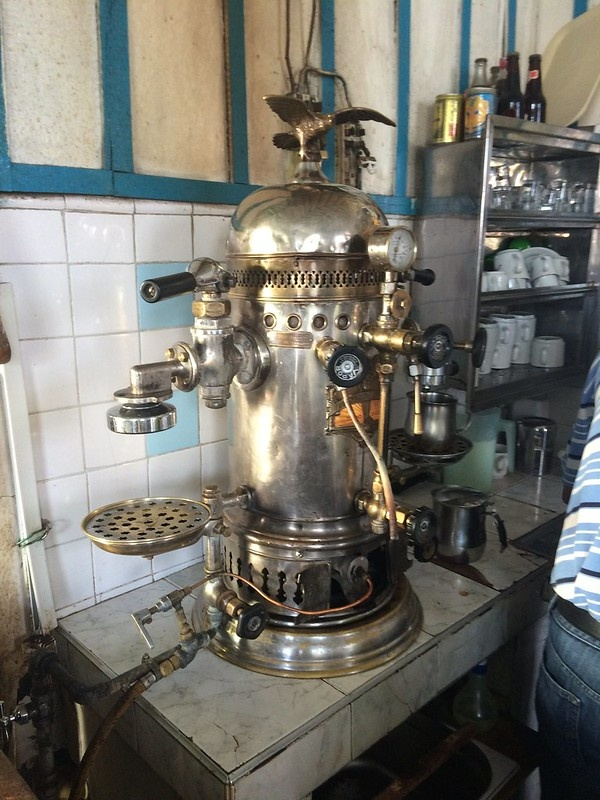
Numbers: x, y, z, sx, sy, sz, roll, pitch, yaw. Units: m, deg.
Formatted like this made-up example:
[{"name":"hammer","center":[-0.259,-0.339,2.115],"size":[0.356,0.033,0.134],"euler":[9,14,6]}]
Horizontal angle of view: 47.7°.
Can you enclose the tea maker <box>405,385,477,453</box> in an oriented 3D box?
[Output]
[{"name":"tea maker","center":[0.282,0.039,1.338],"size":[0.106,0.103,0.149],"euler":[2,3,19]}]

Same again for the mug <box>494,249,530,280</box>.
[{"name":"mug","center":[0.644,-0.406,2.082],"size":[0.084,0.080,0.099],"euler":[-8,-1,-6]}]

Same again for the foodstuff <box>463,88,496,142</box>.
[{"name":"foodstuff","center":[0.508,-0.795,1.915],"size":[0.101,0.155,0.093],"euler":[-3,14,-1]}]

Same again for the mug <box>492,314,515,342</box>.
[{"name":"mug","center":[0.639,-0.221,2.135],"size":[0.065,0.088,0.097],"euler":[0,19,9]}]

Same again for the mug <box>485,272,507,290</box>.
[{"name":"mug","center":[0.579,-0.349,1.994],"size":[0.075,0.058,0.048],"euler":[-8,11,-30]}]

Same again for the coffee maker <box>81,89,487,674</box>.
[{"name":"coffee maker","center":[-0.024,-0.015,1.144],"size":[0.638,0.866,0.478],"euler":[-7,13,-28]}]

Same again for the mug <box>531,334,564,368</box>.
[{"name":"mug","center":[0.823,-0.152,2.245],"size":[0.083,0.077,0.122],"euler":[5,14,30]}]
